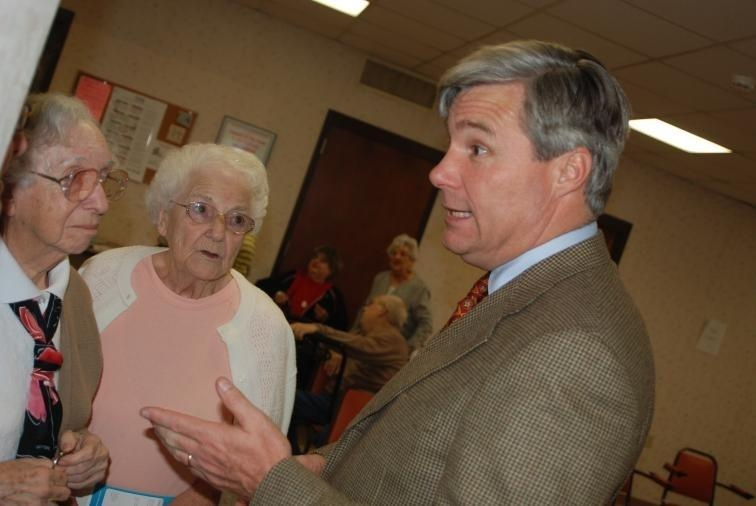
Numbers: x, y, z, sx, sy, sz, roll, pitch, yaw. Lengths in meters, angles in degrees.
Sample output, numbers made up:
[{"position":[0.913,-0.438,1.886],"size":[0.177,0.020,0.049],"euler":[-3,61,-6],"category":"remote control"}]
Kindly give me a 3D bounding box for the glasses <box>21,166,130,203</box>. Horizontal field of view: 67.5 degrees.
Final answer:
[{"position":[-0.958,-0.215,1.773],"size":[0.171,0.062,0.170],"euler":[-1,-1,29],"category":"glasses"}]

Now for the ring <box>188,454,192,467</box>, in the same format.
[{"position":[-0.528,0.582,1.593],"size":[0.008,0.035,0.034],"euler":[7,-31,-17],"category":"ring"}]
